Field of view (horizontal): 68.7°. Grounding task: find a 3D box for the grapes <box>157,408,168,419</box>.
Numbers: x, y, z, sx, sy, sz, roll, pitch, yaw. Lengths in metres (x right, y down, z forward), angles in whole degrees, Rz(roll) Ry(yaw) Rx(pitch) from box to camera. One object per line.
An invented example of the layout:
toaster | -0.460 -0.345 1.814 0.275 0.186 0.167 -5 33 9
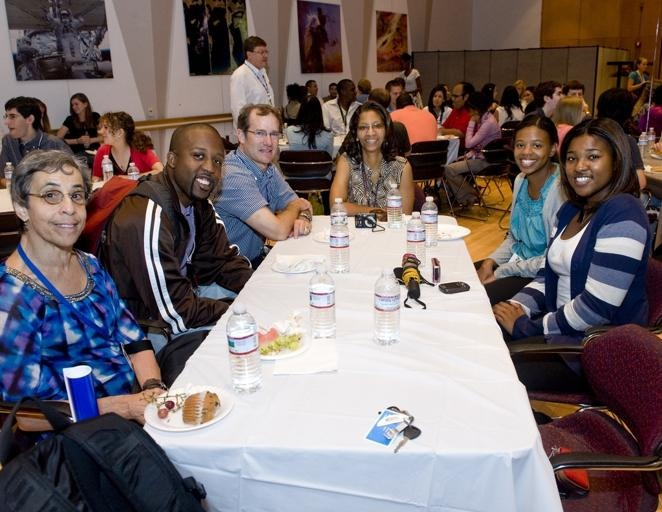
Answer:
grapes | -0.461 0.432 1.330 0.022 0.024 0.023 10 12 -13

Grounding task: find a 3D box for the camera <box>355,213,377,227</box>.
camera | 0.218 -0.230 3.130 0.113 0.085 0.082 0 8 -1

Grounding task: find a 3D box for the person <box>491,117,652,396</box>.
person | 1.106 0.051 2.321 0.622 1.319 0.568 -4 18 11

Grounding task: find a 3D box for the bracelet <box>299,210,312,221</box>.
bracelet | -0.168 -0.276 3.218 0.062 0.086 0.073 -7 -5 -32

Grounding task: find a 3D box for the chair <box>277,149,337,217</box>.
chair | -0.283 -0.849 5.560 0.631 1.070 0.730 1 47 1

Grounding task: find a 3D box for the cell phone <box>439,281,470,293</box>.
cell phone | 0.534 0.133 2.105 0.076 0.026 0.062 -4 15 -3

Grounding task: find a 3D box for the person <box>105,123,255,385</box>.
person | -0.719 0.176 2.425 0.717 1.545 0.621 8 17 11

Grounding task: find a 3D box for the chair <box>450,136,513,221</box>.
chair | 2.086 -0.954 6.971 0.705 0.913 0.689 -28 -3 41

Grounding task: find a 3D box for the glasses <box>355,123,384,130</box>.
glasses | 0.288 -0.946 3.510 0.174 0.049 0.050 -5 18 0

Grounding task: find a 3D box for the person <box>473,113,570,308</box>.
person | 1.049 -0.273 2.924 0.887 1.008 0.483 -15 19 -21

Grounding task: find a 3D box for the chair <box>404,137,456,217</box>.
chair | 1.209 -1.059 6.146 0.645 0.918 0.705 -12 27 -22

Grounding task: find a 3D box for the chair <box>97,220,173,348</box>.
chair | -0.822 0.108 2.278 0.301 0.602 0.310 0 17 12
